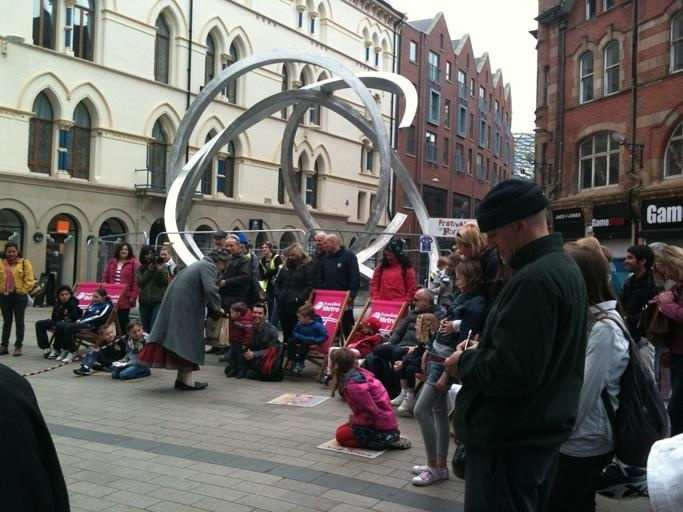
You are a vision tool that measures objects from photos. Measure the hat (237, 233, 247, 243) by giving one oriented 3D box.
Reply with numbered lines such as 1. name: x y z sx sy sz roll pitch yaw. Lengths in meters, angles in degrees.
1. hat: -2.055 -0.374 14.754 0.221 0.176 0.316 2 -7 -26

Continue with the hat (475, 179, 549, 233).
1. hat: 1.144 -0.300 4.819 0.379 0.265 0.363 -12 5 3

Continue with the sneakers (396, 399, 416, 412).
1. sneakers: 0.792 1.968 9.207 0.319 0.145 0.109 2 -5 -25

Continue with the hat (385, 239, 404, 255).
1. hat: 0.865 -0.161 11.395 0.274 0.218 0.205 30 -8 -30

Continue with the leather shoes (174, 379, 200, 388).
1. leather shoes: -2.274 1.870 10.361 0.252 0.098 0.136 0 -6 -6

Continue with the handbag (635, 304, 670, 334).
1. handbag: 3.247 0.682 7.461 0.243 0.435 0.437 1 -3 4

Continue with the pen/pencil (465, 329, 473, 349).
1. pen/pencil: 1.108 0.729 6.187 0.024 0.173 0.030 14 -4 -4

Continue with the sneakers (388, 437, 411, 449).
1. sneakers: 0.630 2.087 7.856 0.248 0.122 0.093 3 -4 -9

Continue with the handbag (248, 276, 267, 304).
1. handbag: -1.609 0.667 13.447 0.246 0.527 0.515 -7 -6 2

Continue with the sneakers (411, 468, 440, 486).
1. sneakers: 0.812 2.128 6.795 0.308 0.130 0.113 3 -3 -22

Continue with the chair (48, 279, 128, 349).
1. chair: -4.751 1.077 13.138 1.169 1.590 1.598 -1 -2 29

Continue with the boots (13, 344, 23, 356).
1. boots: -5.884 1.747 12.893 0.100 0.211 0.299 4 -14 -24

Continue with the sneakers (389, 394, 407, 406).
1. sneakers: 0.751 1.918 9.396 0.253 0.117 0.090 1 5 16

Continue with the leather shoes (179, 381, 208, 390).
1. leather shoes: -2.198 1.885 10.375 0.324 0.125 0.158 3 -4 -16

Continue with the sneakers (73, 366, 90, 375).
1. sneakers: -4.115 1.852 11.353 0.319 0.145 0.117 6 -1 -15
